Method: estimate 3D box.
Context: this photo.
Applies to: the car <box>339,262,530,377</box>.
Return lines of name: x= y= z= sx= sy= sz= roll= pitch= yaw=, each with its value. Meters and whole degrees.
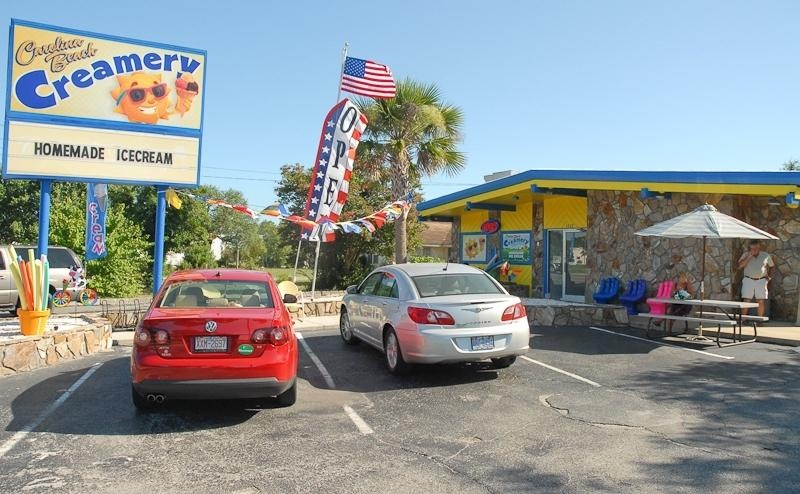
car: x=0.555 y=1.501 z=12.882 sx=2.171 sy=2.166 sz=4.109 roll=-9 pitch=14 yaw=-41

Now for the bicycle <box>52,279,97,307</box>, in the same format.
bicycle: x=-11.341 y=1.586 z=19.817 sx=1.491 sy=0.878 sz=0.697 roll=1 pitch=-3 yaw=-10

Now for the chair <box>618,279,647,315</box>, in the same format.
chair: x=7.357 y=1.573 z=18.219 sx=0.960 sy=1.072 sz=0.782 roll=-6 pitch=2 yaw=-30

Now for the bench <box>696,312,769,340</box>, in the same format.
bench: x=8.974 y=2.045 z=15.615 sx=1.231 sy=0.277 sz=1.188 roll=-3 pitch=4 yaw=-35

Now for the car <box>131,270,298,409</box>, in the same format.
car: x=-3.379 y=1.804 z=10.624 sx=2.805 sy=2.298 sz=1.676 roll=-2 pitch=11 yaw=-10

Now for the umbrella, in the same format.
umbrella: x=8.226 y=0.120 z=15.695 sx=3.310 sy=2.370 sz=3.397 roll=1 pitch=2 yaw=24

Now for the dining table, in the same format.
dining table: x=8.426 y=1.937 z=15.542 sx=1.674 sy=0.854 sz=1.890 roll=-2 pitch=1 yaw=-32

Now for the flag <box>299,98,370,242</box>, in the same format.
flag: x=-2.338 y=-2.646 z=19.700 sx=1.053 sy=4.770 sz=2.357 roll=9 pitch=15 yaw=37

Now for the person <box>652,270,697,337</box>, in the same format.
person: x=7.649 y=1.679 z=16.323 sx=0.789 sy=1.166 sz=0.825 roll=22 pitch=-14 yaw=21

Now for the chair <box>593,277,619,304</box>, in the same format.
chair: x=7.014 y=1.399 z=19.306 sx=0.863 sy=0.978 sz=0.957 roll=3 pitch=-3 yaw=-35

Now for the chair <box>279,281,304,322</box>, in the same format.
chair: x=-3.580 y=1.736 z=18.745 sx=0.749 sy=1.170 sz=0.847 roll=-14 pitch=21 yaw=-38
